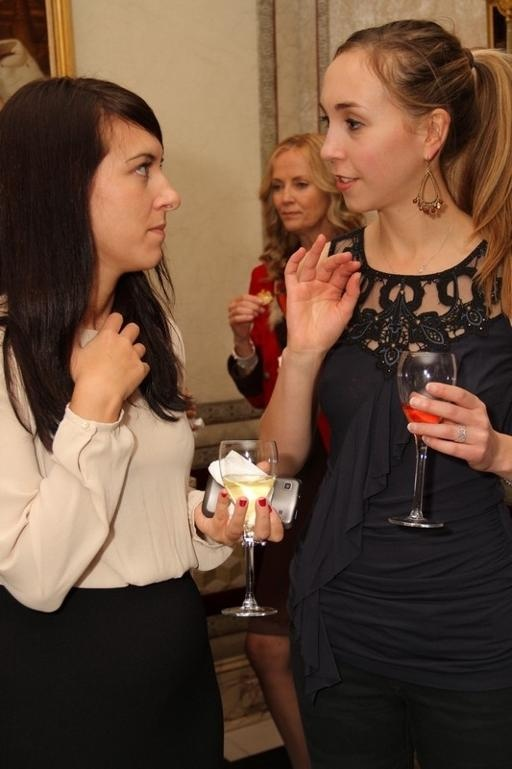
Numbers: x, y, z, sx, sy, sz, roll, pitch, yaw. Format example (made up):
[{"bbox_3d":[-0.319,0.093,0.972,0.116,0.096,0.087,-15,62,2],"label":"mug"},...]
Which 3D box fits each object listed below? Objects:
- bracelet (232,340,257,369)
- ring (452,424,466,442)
[{"bbox_3d":[-0.051,-0.127,3.022,0.105,0.106,0.114,-20,25,3],"label":"bracelet"},{"bbox_3d":[0.359,0.091,1.195,0.007,0.023,0.024,2,7,-42],"label":"ring"}]
